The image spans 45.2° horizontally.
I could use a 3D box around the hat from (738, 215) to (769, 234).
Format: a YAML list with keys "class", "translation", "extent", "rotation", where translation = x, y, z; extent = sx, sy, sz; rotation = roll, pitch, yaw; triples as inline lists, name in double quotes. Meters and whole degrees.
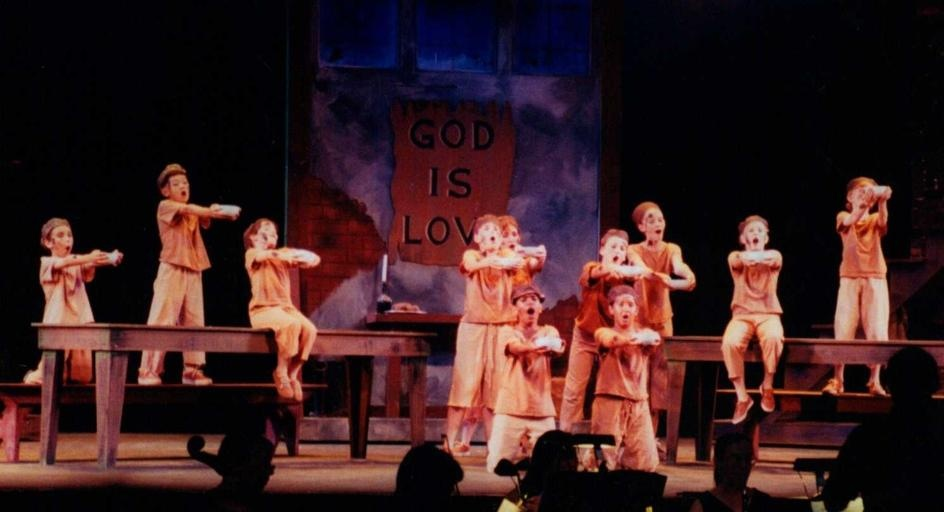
- class: "hat"
  translation: [3.310, -0.372, 13.265]
  extent: [0.292, 0.066, 0.282]
  rotation: [-12, -2, 7]

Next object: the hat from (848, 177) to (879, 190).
- class: "hat"
  translation: [4.510, -0.839, 13.087]
  extent: [0.254, 0.179, 0.210]
  rotation: [4, -6, 2]

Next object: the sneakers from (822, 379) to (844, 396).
- class: "sneakers"
  translation: [4.123, 1.488, 12.896]
  extent: [0.139, 0.162, 0.426]
  rotation: [-2, 1, 16]

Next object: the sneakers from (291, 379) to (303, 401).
- class: "sneakers"
  translation: [-1.960, 1.467, 12.370]
  extent: [0.130, 0.240, 0.084]
  rotation: [-7, 11, 11]

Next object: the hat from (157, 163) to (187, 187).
- class: "hat"
  translation: [-3.579, -0.954, 13.344]
  extent: [0.314, 0.137, 0.435]
  rotation: [0, -24, -46]

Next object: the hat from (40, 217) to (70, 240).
- class: "hat"
  translation: [-4.835, -0.310, 13.025]
  extent: [0.253, 0.154, 0.229]
  rotation: [-51, -14, 34]

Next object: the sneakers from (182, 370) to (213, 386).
- class: "sneakers"
  translation: [-3.187, 1.392, 12.941]
  extent: [0.488, 0.174, 0.191]
  rotation: [-5, -8, 32]

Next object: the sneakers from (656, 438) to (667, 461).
- class: "sneakers"
  translation: [2.165, 2.234, 13.112]
  extent: [0.101, 0.233, 0.252]
  rotation: [-9, -22, 29]

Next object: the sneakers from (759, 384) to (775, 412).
- class: "sneakers"
  translation: [3.283, 1.579, 12.542]
  extent: [0.156, 0.128, 0.340]
  rotation: [1, 12, 2]
